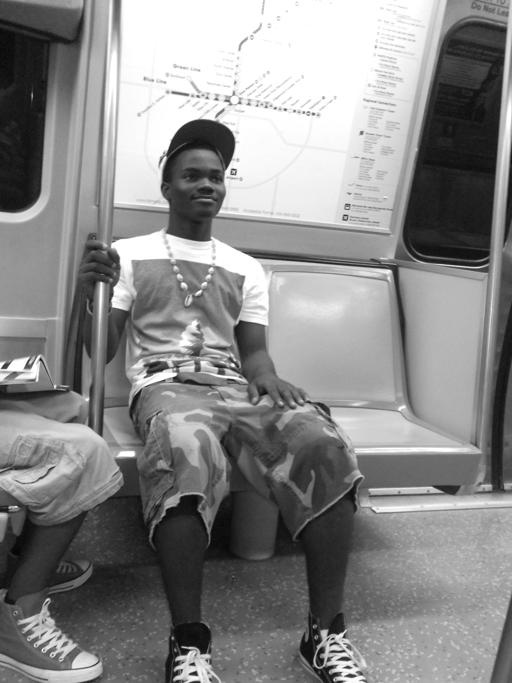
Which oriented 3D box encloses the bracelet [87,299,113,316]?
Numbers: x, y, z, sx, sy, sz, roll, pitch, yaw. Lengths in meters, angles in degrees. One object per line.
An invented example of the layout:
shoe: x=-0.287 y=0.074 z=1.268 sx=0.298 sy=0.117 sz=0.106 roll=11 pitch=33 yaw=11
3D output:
bracelet: x=-0.418 y=-0.086 z=1.468 sx=0.061 sy=0.050 sz=0.058 roll=1 pitch=5 yaw=2

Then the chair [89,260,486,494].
chair: x=0.115 y=0.112 z=1.844 sx=0.902 sy=0.674 sz=0.513 roll=-1 pitch=5 yaw=-12
